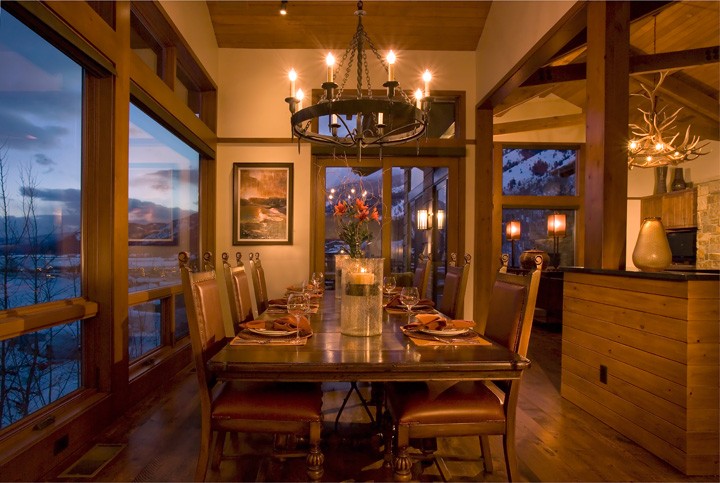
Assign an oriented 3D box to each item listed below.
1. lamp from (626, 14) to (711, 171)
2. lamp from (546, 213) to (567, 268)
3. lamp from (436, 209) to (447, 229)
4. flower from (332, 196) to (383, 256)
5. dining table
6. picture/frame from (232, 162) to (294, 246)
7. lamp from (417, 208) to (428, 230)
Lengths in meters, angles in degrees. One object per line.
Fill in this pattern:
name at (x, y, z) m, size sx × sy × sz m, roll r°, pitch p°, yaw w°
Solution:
lamp at (4.626, -1.954, 7.508) m, size 1.145 × 1.795 × 3.485 m, roll 0°, pitch 2°, yaw 28°
lamp at (3.300, -0.045, 8.515) m, size 0.302 × 0.904 × 0.760 m, roll 0°, pitch 3°, yaw 23°
lamp at (1.163, -0.332, 7.412) m, size 0.081 × 0.300 × 0.270 m, roll -2°, pitch 2°, yaw -13°
flower at (-0.002, -0.201, 5.754) m, size 0.664 × 0.872 × 0.734 m, roll 1°, pitch -8°, yaw -6°
dining table at (0.258, 0.853, 3.911) m, size 1.693 × 1.092 × 1.670 m, roll 1°, pitch -7°, yaw 3°
picture/frame at (-1.379, -0.483, 7.067) m, size 1.187 × 1.562 × 0.057 m, roll 0°, pitch -3°, yaw -4°
lamp at (0.921, -0.337, 7.574) m, size 0.249 × 0.305 × 0.100 m, roll -4°, pitch 3°, yaw -44°
